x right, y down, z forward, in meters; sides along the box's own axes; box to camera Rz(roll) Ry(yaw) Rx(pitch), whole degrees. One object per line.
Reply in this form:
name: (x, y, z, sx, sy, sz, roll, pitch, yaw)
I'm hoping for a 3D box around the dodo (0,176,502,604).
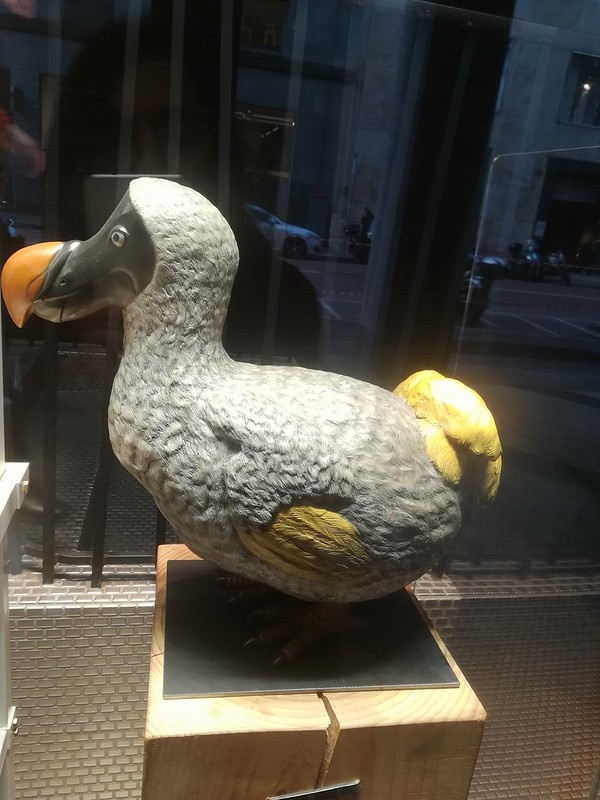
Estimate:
dodo: (-0.053, -0.007, 0.726, 0.526, 0.364, 0.195, 14, 24, 4)
